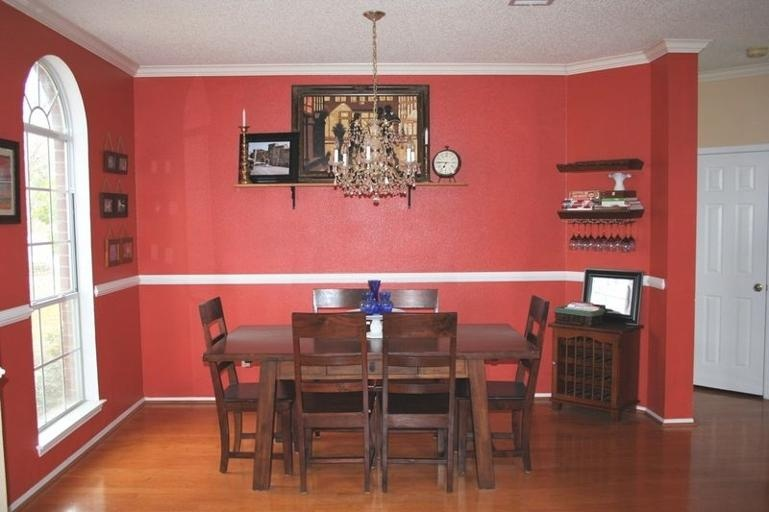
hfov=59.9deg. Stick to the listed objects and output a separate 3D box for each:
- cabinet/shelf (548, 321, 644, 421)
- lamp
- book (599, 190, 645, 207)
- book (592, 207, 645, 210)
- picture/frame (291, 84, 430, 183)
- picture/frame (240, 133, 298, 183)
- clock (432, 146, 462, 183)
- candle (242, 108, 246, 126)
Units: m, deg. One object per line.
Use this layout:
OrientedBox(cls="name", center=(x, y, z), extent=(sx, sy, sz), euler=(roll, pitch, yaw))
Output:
OrientedBox(cls="cabinet/shelf", center=(2.190, 1.158, 6.942), extent=(0.814, 0.895, 0.550), euler=(-2, -4, 45))
OrientedBox(cls="lamp", center=(-0.060, -1.318, 6.399), extent=(0.920, 1.712, 1.865), euler=(-2, 6, -3))
OrientedBox(cls="book", center=(2.387, -0.581, 6.808), extent=(0.386, 0.164, 0.103), euler=(0, 6, 17))
OrientedBox(cls="book", center=(2.381, -0.495, 6.815), extent=(0.456, 0.046, 0.100), euler=(0, 5, 18))
OrientedBox(cls="picture/frame", center=(-0.293, -1.251, 6.684), extent=(1.292, 0.869, 0.051), euler=(0, -2, 1))
OrientedBox(cls="picture/frame", center=(-1.214, -1.023, 6.991), extent=(0.558, 0.507, 0.056), euler=(0, -3, 0))
OrientedBox(cls="clock", center=(0.644, -0.977, 7.100), extent=(0.422, 0.450, 0.079), euler=(-1, -1, 4))
OrientedBox(cls="candle", center=(-1.475, -1.463, 7.009), extent=(0.042, 0.190, 0.187), euler=(-2, 6, -10))
